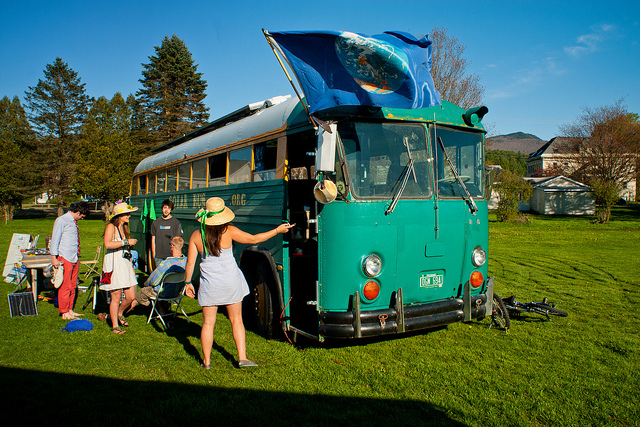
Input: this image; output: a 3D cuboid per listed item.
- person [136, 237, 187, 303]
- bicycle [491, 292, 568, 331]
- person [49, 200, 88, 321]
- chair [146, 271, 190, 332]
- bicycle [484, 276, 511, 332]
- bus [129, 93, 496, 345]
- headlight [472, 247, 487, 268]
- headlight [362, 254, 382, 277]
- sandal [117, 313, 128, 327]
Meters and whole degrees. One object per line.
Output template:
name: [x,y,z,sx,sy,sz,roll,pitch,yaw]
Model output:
person: [-3.620,1.349,11.607,1.204,1.622,1.003,3,1,37]
bicycle: [4.957,2.352,11.790,0.834,0.916,1.447,-2,-1,-3]
person: [-5.860,1.126,11.719,0.777,2.770,0.701,-4,7,-30]
chair: [-3.473,1.929,11.473,0.849,1.293,0.693,-2,-2,40]
bicycle: [4.046,2.214,11.287,0.236,0.873,1.002,-19,-31,0]
bus: [-1.544,-0.176,15.199,5.694,6.191,13.401,0,0,-37]
headlight: [3.298,0.898,10.318,0.183,0.392,0.305,14,3,41]
headlight: [1.018,0.982,9.590,0.342,0.409,0.375,14,-7,-22]
sandal: [-4.594,2.480,11.602,0.115,0.088,0.298,9,9,-43]
